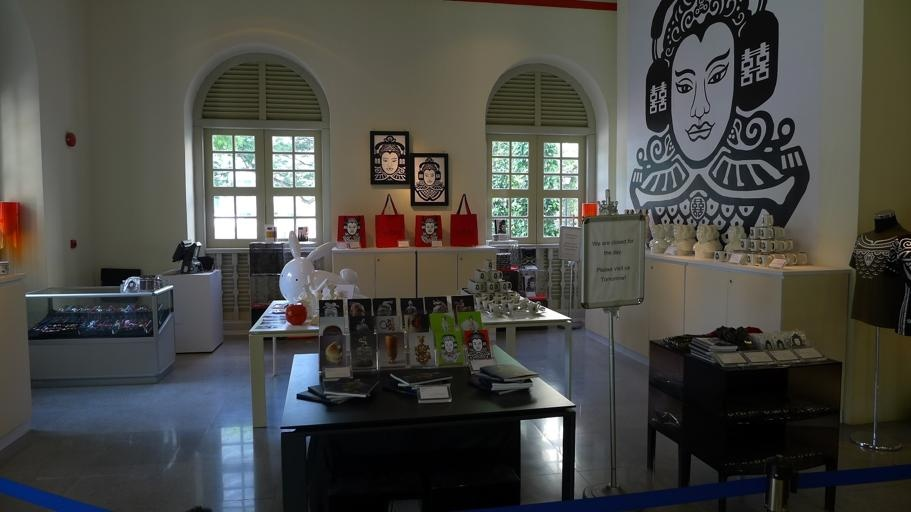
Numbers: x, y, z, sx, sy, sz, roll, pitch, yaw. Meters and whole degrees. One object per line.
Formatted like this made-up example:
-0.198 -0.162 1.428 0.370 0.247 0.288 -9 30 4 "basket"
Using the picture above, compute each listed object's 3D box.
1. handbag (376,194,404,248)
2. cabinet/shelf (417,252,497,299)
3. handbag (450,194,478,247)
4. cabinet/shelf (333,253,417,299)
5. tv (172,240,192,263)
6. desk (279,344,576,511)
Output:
-1.138 -0.604 9.963 0.487 0.884 0.285 -3 4 -12 "handbag"
-0.016 0.302 9.868 1.211 1.067 0.434 -3 -24 8 "cabinet/shelf"
0.136 -0.622 10.066 0.488 0.901 0.372 -2 4 2 "handbag"
-1.323 0.297 9.153 0.772 0.669 0.277 -1 1 -10 "cabinet/shelf"
-4.360 -0.100 9.311 0.313 0.324 0.086 -11 41 -36 "tv"
-0.420 1.455 5.604 1.765 0.873 1.684 -1 7 -15 "desk"
